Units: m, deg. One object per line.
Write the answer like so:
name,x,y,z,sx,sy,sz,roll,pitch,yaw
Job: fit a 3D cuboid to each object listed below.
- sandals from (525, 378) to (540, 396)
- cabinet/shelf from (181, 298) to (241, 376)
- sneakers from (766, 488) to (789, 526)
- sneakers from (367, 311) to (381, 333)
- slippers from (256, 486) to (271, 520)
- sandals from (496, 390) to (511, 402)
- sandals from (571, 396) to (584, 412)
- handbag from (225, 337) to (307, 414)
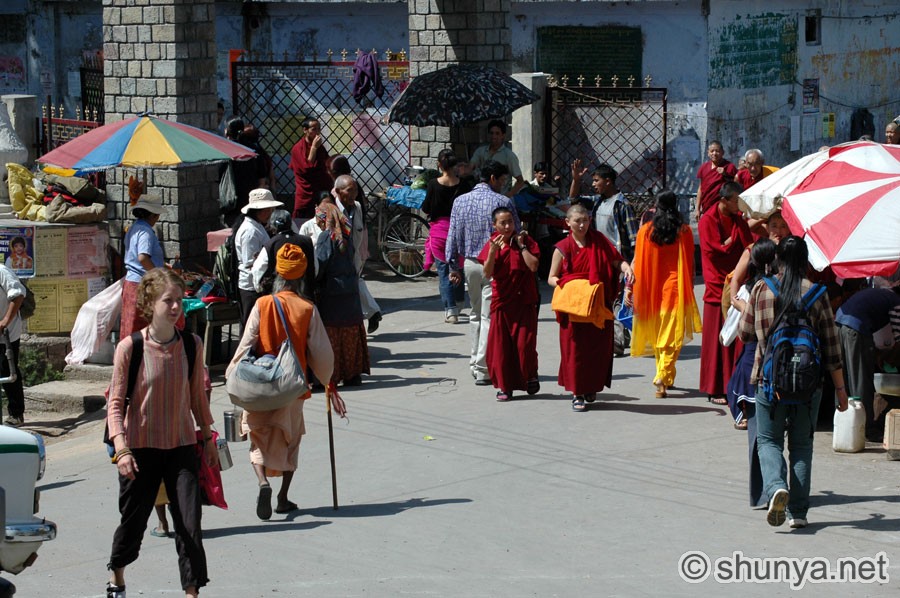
sandals,0.934,1.010,17.454,0.092,0.260,0.102,2,43,2
cabinet/shelf,-2.793,0.357,18.521,0.655,0.766,0.684,-1,10,-16
sneakers,3.032,1.934,14.140,0.147,0.381,0.161,3,31,7
sneakers,-0.957,0.243,19.112,0.121,0.236,0.329,2,21,-1
slippers,-1.785,1.953,14.562,0.135,0.310,0.126,-2,5,-8
sandals,0.609,1.109,17.371,0.091,0.102,0.176,0,-5,12
sandals,1.415,1.177,17.010,0.145,0.162,0.406,0,-3,2
handbag,-1.776,0.662,14.559,0.748,0.747,0.415,-6,6,3
